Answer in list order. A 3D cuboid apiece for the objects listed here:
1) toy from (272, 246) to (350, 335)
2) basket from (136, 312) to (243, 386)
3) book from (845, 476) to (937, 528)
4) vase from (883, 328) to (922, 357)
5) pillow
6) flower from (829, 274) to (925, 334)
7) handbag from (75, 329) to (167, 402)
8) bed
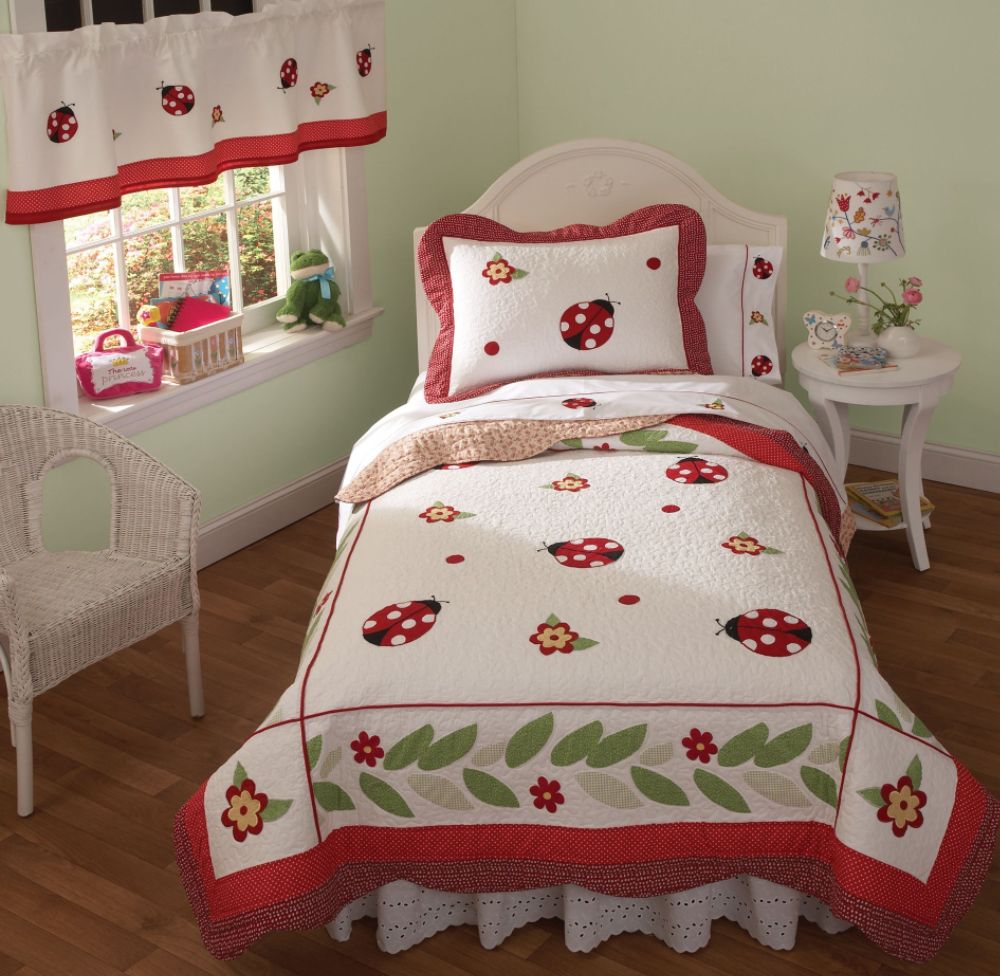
[{"bbox_3d":[-0.679,-0.683,3.450,0.378,0.274,0.182,-6,29,-15],"label":"toy"},{"bbox_3d":[-1.001,-0.468,3.113,0.343,0.148,0.267,-26,38,-36],"label":"basket"},{"bbox_3d":[1.246,0.043,3.265,0.235,0.040,0.199,-4,18,2],"label":"book"},{"bbox_3d":[1.211,-0.437,2.997,0.116,0.069,0.092,-2,30,0],"label":"vase"},{"bbox_3d":[0.318,-0.530,2.934,1.018,0.409,0.093,-2,-16,-1],"label":"pillow"},{"bbox_3d":[1.264,-0.609,3.293,0.304,0.159,0.278,15,31,28],"label":"flower"},{"bbox_3d":[-1.132,-0.352,2.903,0.271,0.158,0.104,-14,26,-34],"label":"handbag"},{"bbox_3d":[0.244,0.211,2.415,1.545,0.769,1.628,1,36,6],"label":"bed"}]
